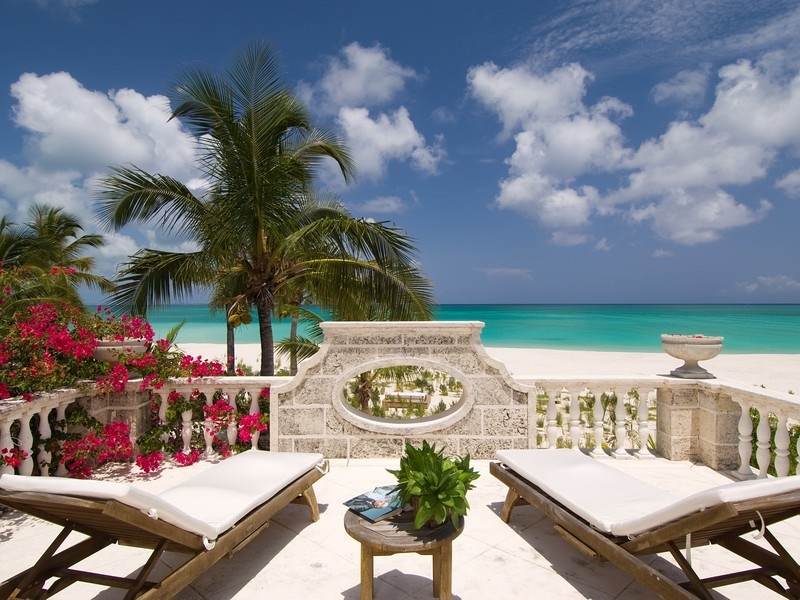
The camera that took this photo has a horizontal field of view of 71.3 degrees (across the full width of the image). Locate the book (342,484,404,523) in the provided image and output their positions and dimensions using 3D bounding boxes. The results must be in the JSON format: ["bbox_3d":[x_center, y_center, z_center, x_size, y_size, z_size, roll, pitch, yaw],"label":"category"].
[{"bbox_3d":[-0.214,1.834,4.987,0.317,0.075,0.319,1,0,41],"label":"book"}]

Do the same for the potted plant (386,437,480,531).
[{"bbox_3d":[0.269,1.596,4.757,0.730,0.464,0.753,1,-3,26],"label":"potted plant"}]
